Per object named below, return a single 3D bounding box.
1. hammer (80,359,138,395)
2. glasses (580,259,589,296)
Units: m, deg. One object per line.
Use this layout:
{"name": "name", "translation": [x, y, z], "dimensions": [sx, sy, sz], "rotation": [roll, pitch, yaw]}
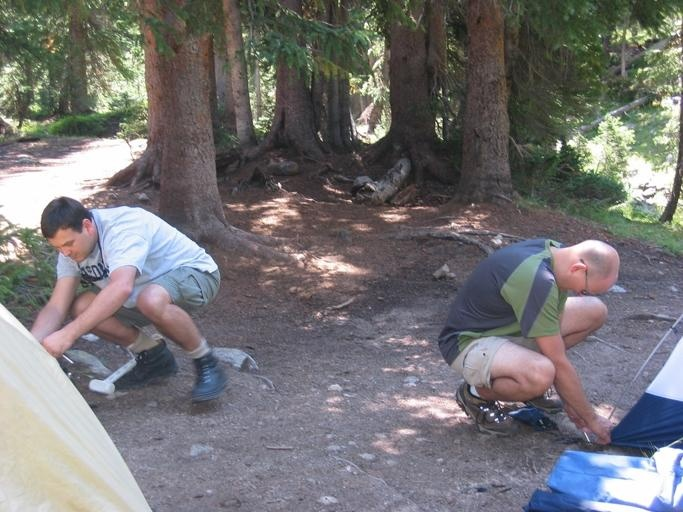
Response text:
{"name": "hammer", "translation": [-1.819, 0.955, 5.441], "dimensions": [0.180, 0.110, 0.627], "rotation": [16, 15, 5]}
{"name": "glasses", "translation": [1.762, 0.137, 4.896], "dimensions": [0.056, 0.220, 0.219], "rotation": [-9, -4, 20]}
